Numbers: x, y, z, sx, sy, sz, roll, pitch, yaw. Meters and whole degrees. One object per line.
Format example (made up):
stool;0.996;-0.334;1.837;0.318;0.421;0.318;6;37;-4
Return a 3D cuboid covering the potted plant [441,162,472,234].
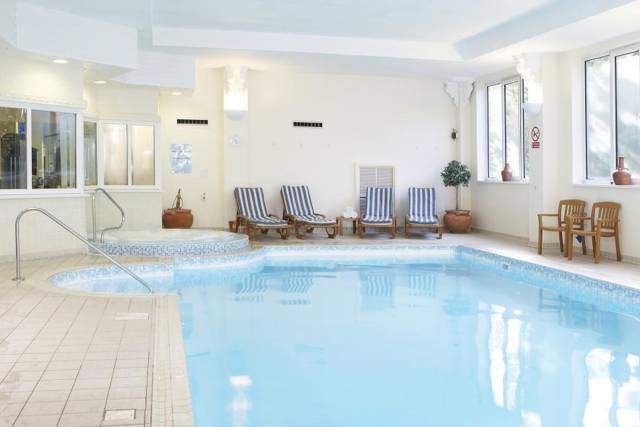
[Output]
potted plant;3.879;-0.486;11.630;0.854;2.025;0.978;3;8;21

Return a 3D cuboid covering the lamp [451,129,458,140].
lamp;3.951;-2.342;12.083;0.150;0.290;0.103;2;0;8

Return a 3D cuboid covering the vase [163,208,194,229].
vase;-3.643;0.105;10.476;0.564;0.388;0.521;-1;3;-31

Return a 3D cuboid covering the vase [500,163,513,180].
vase;4.896;-1.082;10.720;0.265;0.455;0.210;3;9;23

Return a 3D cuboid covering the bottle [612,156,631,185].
bottle;5.926;-0.842;8.021;0.323;0.545;0.326;0;8;0
